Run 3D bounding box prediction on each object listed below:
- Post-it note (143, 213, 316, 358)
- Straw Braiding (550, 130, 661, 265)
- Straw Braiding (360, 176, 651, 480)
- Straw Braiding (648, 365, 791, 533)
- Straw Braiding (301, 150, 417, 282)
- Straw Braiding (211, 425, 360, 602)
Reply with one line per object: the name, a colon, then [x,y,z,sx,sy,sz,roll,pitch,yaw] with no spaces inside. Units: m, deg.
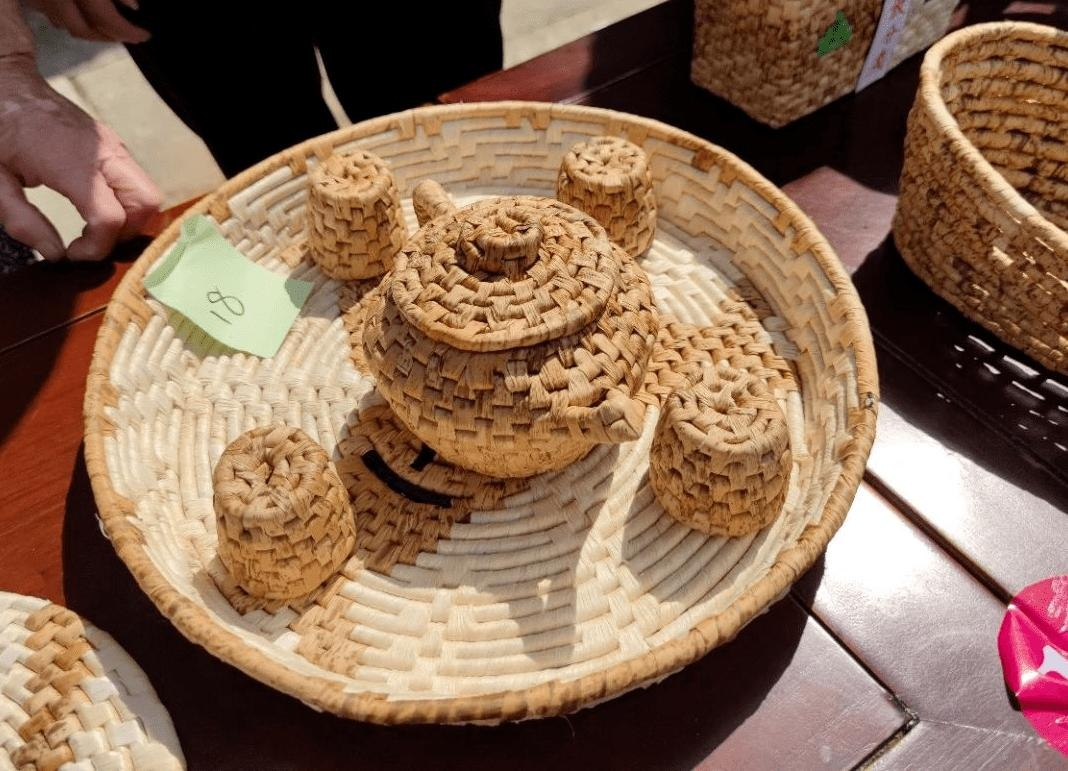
Post-it note: [-0.610,-0.184,1.690,0.303,0.087,0.247,40,56,-14]
Straw Braiding: [0.154,-0.385,1.778,0.203,0.212,0.211,-16,47,-11]
Straw Braiding: [-0.037,-0.095,1.485,0.500,0.343,0.448,3,61,9]
Straw Braiding: [0.311,0.101,1.423,0.212,0.156,0.246,4,61,10]
Straw Braiding: [-0.338,-0.336,1.705,0.210,0.232,0.234,-3,45,-9]
Straw Braiding: [-0.404,0.204,1.478,0.230,0.266,0.267,-10,48,-13]
